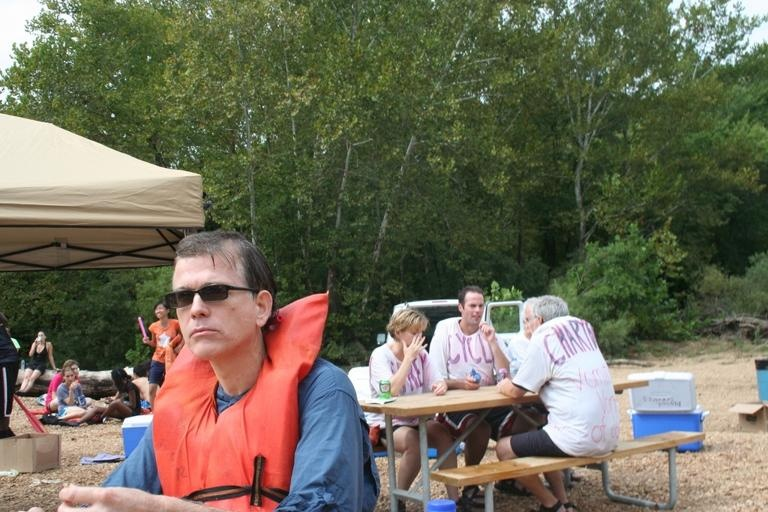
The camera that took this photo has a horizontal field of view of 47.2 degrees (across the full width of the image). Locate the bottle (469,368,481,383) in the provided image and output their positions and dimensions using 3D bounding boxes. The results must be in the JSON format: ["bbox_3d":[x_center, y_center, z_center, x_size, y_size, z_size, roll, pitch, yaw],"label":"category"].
[{"bbox_3d":[1.918,2.525,18.623,0.237,0.321,0.234,-22,-10,-4],"label":"bottle"}]

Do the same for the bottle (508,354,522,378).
[{"bbox_3d":[2.802,2.402,19.139,0.147,0.402,0.291,23,-15,-25],"label":"bottle"}]
